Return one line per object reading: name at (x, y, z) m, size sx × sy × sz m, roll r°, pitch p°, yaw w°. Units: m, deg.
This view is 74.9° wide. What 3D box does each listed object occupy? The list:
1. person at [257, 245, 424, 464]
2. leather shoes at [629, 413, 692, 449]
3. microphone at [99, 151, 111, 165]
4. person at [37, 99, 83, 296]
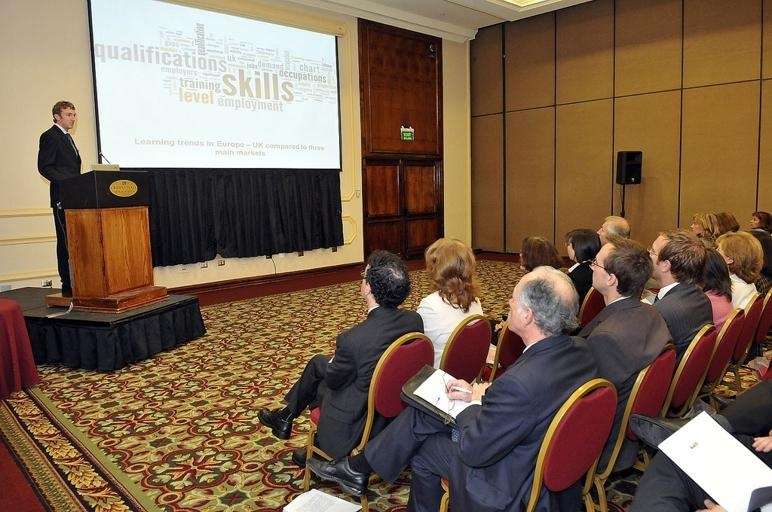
person at (-0.413, 0.760, 3.661) m, size 1.210 × 1.726 × 0.632 m, roll 18°, pitch 21°, yaw 31°
leather shoes at (1.534, 0.907, 2.835) m, size 0.229 × 0.095 × 0.230 m, roll -4°, pitch 7°, yaw -31°
microphone at (-4.134, -1.438, 7.401) m, size 0.137 × 0.160 × 0.298 m, roll -7°, pitch 15°, yaw -28°
person at (-3.798, -0.695, 5.947) m, size 0.430 × 2.193 × 0.901 m, roll -8°, pitch 15°, yaw -31°
